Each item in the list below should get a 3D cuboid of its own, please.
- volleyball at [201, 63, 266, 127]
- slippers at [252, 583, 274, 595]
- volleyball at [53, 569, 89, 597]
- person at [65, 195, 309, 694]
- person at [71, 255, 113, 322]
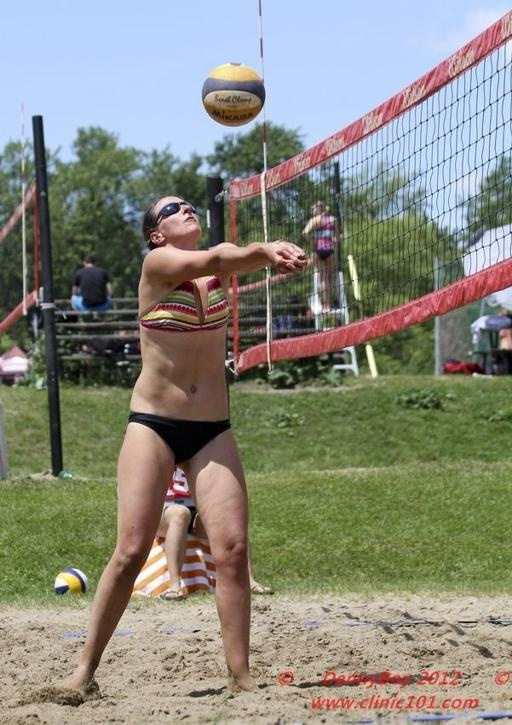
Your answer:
[{"bbox_3d":[-0.148,-1.799,7.492,0.455,0.411,0.434,8,27,13],"label":"volleyball"},{"bbox_3d":[0.044,1.244,6.082,0.096,0.029,0.058,9,0,-15],"label":"slippers"},{"bbox_3d":[-1.036,1.220,6.266,0.149,0.130,0.144,-8,24,-29],"label":"volleyball"},{"bbox_3d":[-0.245,0.256,4.247,0.917,1.658,0.911,3,6,-33],"label":"person"},{"bbox_3d":[-2.030,-0.929,14.088,0.391,0.789,0.398,1,6,-44],"label":"person"}]
